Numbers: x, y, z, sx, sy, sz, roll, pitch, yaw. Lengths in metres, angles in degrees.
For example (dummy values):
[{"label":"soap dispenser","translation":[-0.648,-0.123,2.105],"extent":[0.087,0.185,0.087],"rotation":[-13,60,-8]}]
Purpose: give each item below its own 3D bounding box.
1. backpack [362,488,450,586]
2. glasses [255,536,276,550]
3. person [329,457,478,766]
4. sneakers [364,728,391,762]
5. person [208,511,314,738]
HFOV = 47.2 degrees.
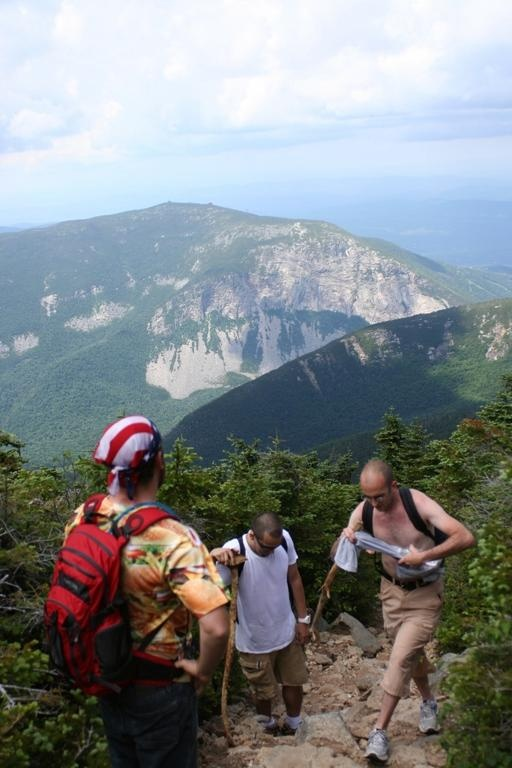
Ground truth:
[{"label":"backpack","translation":[1.276,1.304,5.327],"extent":[0.471,0.697,0.739],"rotation":[-3,-10,-3]},{"label":"glasses","translation":[0.103,1.485,5.441],"extent":[0.123,0.132,0.162],"rotation":[0,-7,-6]},{"label":"person","translation":[1.366,2.122,5.267],"extent":[1.032,2.995,1.342],"rotation":[-5,14,6]},{"label":"sneakers","translation":[1.027,3.044,4.947],"extent":[0.196,0.259,0.233],"rotation":[-3,14,12]},{"label":"person","translation":[0.069,2.462,5.816],"extent":[1.054,2.343,0.710],"rotation":[-12,8,-35]}]
